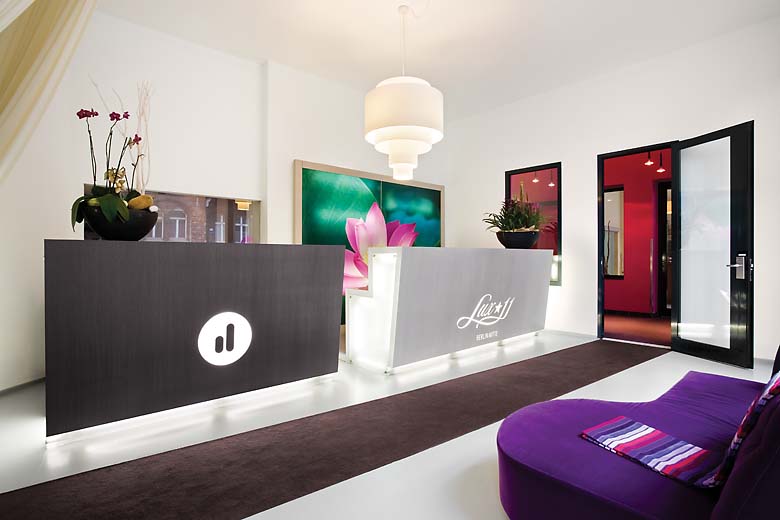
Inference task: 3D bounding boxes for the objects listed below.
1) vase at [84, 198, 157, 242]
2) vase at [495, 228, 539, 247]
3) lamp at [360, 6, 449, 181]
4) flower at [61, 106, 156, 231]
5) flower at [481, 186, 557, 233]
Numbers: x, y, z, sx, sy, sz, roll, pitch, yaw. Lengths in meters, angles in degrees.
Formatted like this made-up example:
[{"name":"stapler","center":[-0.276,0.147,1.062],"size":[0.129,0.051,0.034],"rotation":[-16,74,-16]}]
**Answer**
[{"name":"vase","center":[-2.571,-0.334,4.790],"size":[0.651,0.318,0.668],"rotation":[4,-1,-22]},{"name":"vase","center":[1.804,-0.300,7.143],"size":[0.431,0.260,0.413],"rotation":[-1,4,-23]},{"name":"lamp","center":[0.141,-1.415,5.269],"size":[0.808,0.996,0.465],"rotation":[0,4,-3]},{"name":"flower","center":[-2.579,-0.741,4.737],"size":[0.667,1.165,0.746],"rotation":[4,4,34]},{"name":"flower","center":[1.948,-0.636,7.554],"size":[0.867,0.509,0.854],"rotation":[0,-3,26]}]
